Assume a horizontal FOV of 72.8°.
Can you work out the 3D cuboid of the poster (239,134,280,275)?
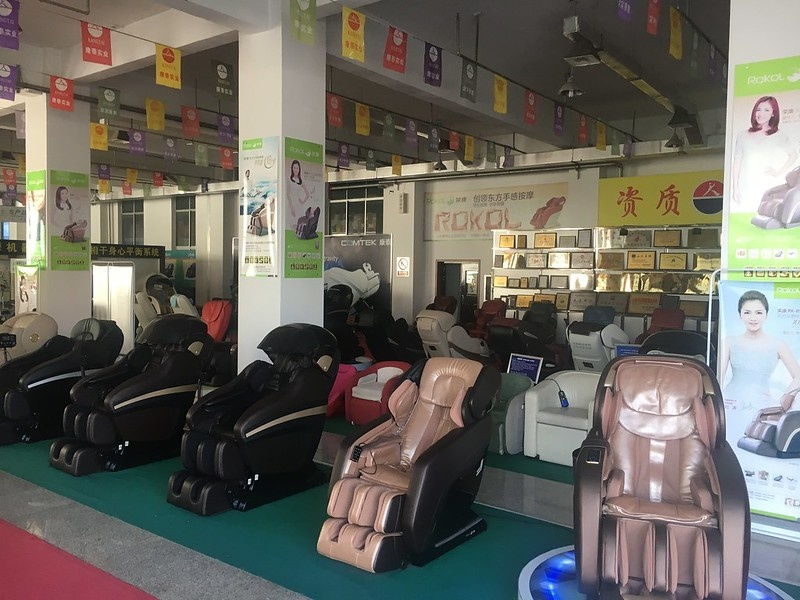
[{"bbox_3d":[-1.781,-1.165,6.891,0.664,1.762,0.140,4,7,31],"label":"poster"}]

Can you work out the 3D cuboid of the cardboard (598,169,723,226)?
[{"bbox_3d":[5.899,-2.248,12.105,2.142,1.065,0.016,2,2,36],"label":"cardboard"}]

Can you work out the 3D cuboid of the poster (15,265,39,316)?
[{"bbox_3d":[-6.925,-0.184,10.084,0.218,0.895,1.081,-5,8,-44],"label":"poster"}]

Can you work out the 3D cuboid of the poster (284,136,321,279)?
[{"bbox_3d":[-1.232,-1.160,6.980,0.119,1.761,0.672,5,7,36],"label":"poster"}]

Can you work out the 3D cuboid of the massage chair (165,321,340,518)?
[{"bbox_3d":[-1.465,1.168,5.641,1.604,1.688,0.694,-5,8,-44],"label":"massage chair"}]

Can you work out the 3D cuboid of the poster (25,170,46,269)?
[{"bbox_3d":[-6.629,-1.470,9.926,0.771,1.788,0.245,5,8,40],"label":"poster"}]

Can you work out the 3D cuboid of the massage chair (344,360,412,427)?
[{"bbox_3d":[-0.288,1.358,7.845,0.952,0.950,1.008,3,-1,1],"label":"massage chair"}]

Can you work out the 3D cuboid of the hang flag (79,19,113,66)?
[{"bbox_3d":[-3.867,-3.279,6.926,0.315,0.501,0.194,-4,7,-36],"label":"hang flag"}]

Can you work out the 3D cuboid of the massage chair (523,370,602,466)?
[{"bbox_3d":[1.956,1.339,6.898,0.955,1.196,1.080,2,1,32],"label":"massage chair"}]

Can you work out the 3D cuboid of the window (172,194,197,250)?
[{"bbox_3d":[-8.911,-3.275,22.593,2.058,3.041,0.185,-1,-1,36],"label":"window"}]

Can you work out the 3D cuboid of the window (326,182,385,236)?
[{"bbox_3d":[-1.391,-3.085,18.281,1.926,1.508,0.204,2,0,37],"label":"window"}]
